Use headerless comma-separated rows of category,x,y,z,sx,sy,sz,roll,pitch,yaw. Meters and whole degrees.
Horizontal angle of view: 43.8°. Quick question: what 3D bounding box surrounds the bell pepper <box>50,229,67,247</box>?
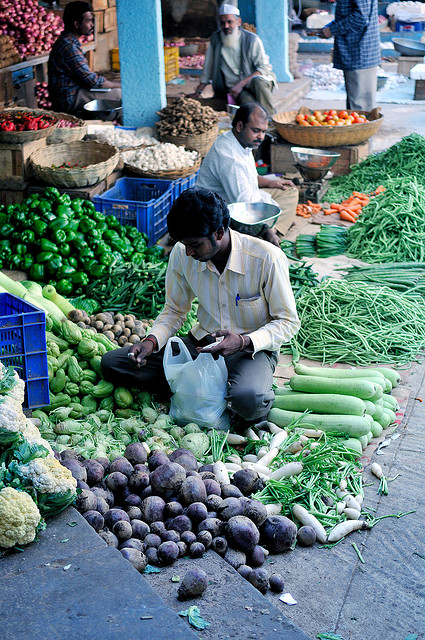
bell pepper,-1.293,-0.689,4.502,0.153,0.132,0.141,5,32,1

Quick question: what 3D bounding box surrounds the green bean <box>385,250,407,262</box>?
green bean,1.819,-0.622,5.228,0.210,0.033,0.028,-33,20,-2

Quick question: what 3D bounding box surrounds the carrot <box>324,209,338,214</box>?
carrot,1.465,-1.351,6.629,0.132,0.042,0.067,-5,19,-1

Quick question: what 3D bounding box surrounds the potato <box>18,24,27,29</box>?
potato,-3.228,-4.929,8.910,0.071,0.051,0.090,-12,-2,23

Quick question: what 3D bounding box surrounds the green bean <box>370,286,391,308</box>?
green bean,1.320,-0.176,4.286,0.280,0.152,0.063,-25,-12,-43

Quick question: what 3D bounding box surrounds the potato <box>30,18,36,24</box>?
potato,-3.059,-5.068,8.971,0.075,0.069,0.038,-15,27,-7

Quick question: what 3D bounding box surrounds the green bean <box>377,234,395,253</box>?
green bean,1.767,-0.774,5.420,0.215,0.156,0.065,-8,14,-38

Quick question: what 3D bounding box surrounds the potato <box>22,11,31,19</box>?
potato,-3.144,-5.102,8.859,0.104,0.109,0.067,-4,38,-6

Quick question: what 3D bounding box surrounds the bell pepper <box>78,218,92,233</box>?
bell pepper,-1.135,-0.827,4.649,0.116,0.111,0.151,-6,-1,-15

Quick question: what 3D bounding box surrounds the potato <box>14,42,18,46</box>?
potato,-3.366,-4.696,9.012,0.045,0.018,0.054,0,2,5

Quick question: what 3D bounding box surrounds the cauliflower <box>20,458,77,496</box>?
cauliflower,-0.535,0.518,1.719,0.170,0.132,0.103,-4,11,-19

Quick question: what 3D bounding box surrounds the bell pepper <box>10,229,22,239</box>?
bell pepper,-1.694,-0.733,4.538,0.097,0.036,0.097,-46,30,-7

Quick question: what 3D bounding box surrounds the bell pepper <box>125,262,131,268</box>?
bell pepper,-0.730,-0.464,4.511,0.051,0.012,0.043,-4,41,-5

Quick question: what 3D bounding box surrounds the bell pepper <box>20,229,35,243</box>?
bell pepper,-1.560,-0.697,4.501,0.100,0.100,0.106,-40,-6,9

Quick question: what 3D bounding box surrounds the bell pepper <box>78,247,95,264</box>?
bell pepper,-1.060,-0.548,4.556,0.140,0.130,0.169,-13,-17,-13

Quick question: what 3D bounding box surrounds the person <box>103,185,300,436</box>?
person,-0.046,-0.040,2.920,0.826,1.297,0.800,10,15,41

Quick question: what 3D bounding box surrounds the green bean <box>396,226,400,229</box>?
green bean,1.919,-0.955,5.488,0.034,0.026,0.022,7,13,35

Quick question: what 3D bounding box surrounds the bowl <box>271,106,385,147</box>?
bowl,1.622,-2.765,7.578,1.552,0.667,1.220,1,10,5

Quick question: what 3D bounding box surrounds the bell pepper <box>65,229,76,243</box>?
bell pepper,-1.221,-0.715,4.521,0.087,0.110,0.088,-3,11,-15

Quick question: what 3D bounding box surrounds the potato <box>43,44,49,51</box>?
potato,-3.022,-4.915,9.551,0.065,0.077,0.154,0,10,1

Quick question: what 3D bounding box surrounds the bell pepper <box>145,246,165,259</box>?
bell pepper,-0.543,-0.617,4.933,0.150,0.104,0.139,0,-17,1

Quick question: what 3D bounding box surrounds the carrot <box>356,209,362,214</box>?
carrot,1.810,-1.335,6.540,0.062,0.039,0.058,1,2,13

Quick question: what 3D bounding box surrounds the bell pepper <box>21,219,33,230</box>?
bell pepper,-1.593,-0.813,4.544,0.099,0.089,0.038,-1,-23,35

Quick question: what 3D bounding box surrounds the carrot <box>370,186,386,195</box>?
carrot,2.106,-1.636,6.692,0.120,0.119,0.298,6,11,28

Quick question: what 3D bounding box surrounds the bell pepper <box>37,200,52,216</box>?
bell pepper,-1.471,-0.985,4.622,0.108,0.124,0.069,-9,-24,-13

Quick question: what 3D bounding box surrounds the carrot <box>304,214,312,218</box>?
carrot,1.179,-1.279,6.528,0.122,0.040,0.035,-9,14,-41

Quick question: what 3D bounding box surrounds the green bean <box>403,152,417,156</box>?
green bean,2.606,-2.187,6.984,0.052,0.045,0.229,-3,10,-15

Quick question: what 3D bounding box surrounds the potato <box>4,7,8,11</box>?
potato,-3.355,-5.023,8.557,0.053,0.047,0.027,-2,49,-3

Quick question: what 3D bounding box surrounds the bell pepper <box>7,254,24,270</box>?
bell pepper,-1.660,-0.489,4.411,0.126,0.113,0.155,15,-16,-13

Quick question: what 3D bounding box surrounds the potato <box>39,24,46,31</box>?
potato,-2.988,-5.117,9.275,0.049,0.109,0.186,2,10,12

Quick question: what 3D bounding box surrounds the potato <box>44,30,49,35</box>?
potato,-2.953,-5.088,9.385,0.070,0.062,0.066,0,2,4

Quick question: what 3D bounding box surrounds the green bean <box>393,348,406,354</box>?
green bean,1.380,0.234,3.886,0.011,0.011,0.077,36,-2,-37

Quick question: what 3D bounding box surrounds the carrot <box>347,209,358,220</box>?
carrot,1.694,-1.288,6.456,0.048,0.049,0.176,32,17,-52

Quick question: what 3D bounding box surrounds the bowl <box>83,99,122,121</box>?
bowl,-1.669,-3.190,8.055,0.662,0.306,0.307,-6,12,-29

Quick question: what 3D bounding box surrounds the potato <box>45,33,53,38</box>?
potato,-2.935,-5.080,9.452,0.063,0.040,0.075,9,-11,-26

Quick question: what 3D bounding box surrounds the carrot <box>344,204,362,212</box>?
carrot,1.747,-1.383,6.549,0.235,0.058,0.073,-5,7,-42

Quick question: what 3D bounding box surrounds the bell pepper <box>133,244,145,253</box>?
bell pepper,-0.680,-0.656,4.857,0.087,0.036,0.084,18,50,29

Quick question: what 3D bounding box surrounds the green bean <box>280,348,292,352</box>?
green bean,0.539,0.225,3.935,0.062,0.015,0.127,4,10,23

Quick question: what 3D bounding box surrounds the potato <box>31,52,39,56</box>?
potato,-3.178,-4.719,9.392,0.101,0.023,0.091,1,7,15

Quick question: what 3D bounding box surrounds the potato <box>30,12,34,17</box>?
potato,-3.076,-5.166,8.962,0.033,0.074,0.029,-10,-13,-2

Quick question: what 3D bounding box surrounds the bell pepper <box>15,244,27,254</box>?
bell pepper,-1.614,-0.595,4.439,0.084,0.075,0.033,-9,-11,-15

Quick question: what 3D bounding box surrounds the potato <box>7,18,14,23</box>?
potato,-3.337,-4.930,8.699,0.091,0.056,0.112,-1,10,-5

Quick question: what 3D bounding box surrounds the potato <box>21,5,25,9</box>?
potato,-3.176,-5.211,8.828,0.054,0.037,0.058,-1,8,0

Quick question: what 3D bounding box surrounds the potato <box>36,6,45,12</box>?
potato,-3.010,-5.417,9.225,0.098,0.060,0.172,0,29,-4

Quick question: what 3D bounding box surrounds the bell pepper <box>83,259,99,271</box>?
bell pepper,-1.019,-0.465,4.461,0.116,0.090,0.096,11,26,21

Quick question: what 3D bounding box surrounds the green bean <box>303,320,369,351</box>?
green bean,0.926,0.125,3.956,0.582,0.076,0.457,4,14,28

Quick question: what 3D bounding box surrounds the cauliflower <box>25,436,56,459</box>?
cauliflower,-0.625,0.442,1.898,0.094,0.043,0.112,-2,23,-38

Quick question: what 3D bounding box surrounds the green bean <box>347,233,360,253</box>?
green bean,1.495,-0.810,5.604,0.248,0.035,0.035,-56,19,-23

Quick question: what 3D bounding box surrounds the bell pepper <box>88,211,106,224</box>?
bell pepper,-1.061,-0.923,4.796,0.160,0.060,0.146,0,49,-16

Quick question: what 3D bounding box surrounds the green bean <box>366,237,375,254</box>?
green bean,1.631,-0.764,5.472,0.034,0.033,0.233,20,36,-49

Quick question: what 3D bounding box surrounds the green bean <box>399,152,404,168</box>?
green bean,2.526,-2.131,7.069,0.043,0.193,0.165,4,12,19

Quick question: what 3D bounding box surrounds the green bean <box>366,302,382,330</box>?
green bean,1.243,-0.020,4.093,0.031,0.043,0.265,-26,53,-10

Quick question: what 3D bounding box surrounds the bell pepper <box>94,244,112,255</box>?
bell pepper,-0.947,-0.601,4.582,0.169,0.109,0.106,-11,2,-9

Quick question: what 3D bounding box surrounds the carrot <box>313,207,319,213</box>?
carrot,1.312,-1.386,6.699,0.066,0.056,0.015,6,-25,-37

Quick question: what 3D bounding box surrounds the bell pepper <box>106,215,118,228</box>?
bell pepper,-0.933,-0.903,4.857,0.100,0.056,0.123,-2,34,-5

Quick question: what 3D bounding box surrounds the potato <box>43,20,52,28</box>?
potato,-2.935,-5.203,9.332,0.086,0.096,0.058,0,-12,-2

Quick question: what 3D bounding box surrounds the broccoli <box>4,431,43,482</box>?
broccoli,-0.637,0.443,1.747,0.138,0.062,0.141,33,35,33

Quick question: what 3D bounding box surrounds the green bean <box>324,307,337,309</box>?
green bean,0.926,-0.091,4.160,0.096,0.012,0.015,1,11,8

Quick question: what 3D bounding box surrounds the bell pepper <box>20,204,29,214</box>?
bell pepper,-1.678,-0.985,4.699,0.077,0.037,0.087,-2,49,-7

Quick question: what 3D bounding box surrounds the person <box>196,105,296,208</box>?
person,0.263,-1.386,4.729,0.867,0.980,0.779,11,34,13
